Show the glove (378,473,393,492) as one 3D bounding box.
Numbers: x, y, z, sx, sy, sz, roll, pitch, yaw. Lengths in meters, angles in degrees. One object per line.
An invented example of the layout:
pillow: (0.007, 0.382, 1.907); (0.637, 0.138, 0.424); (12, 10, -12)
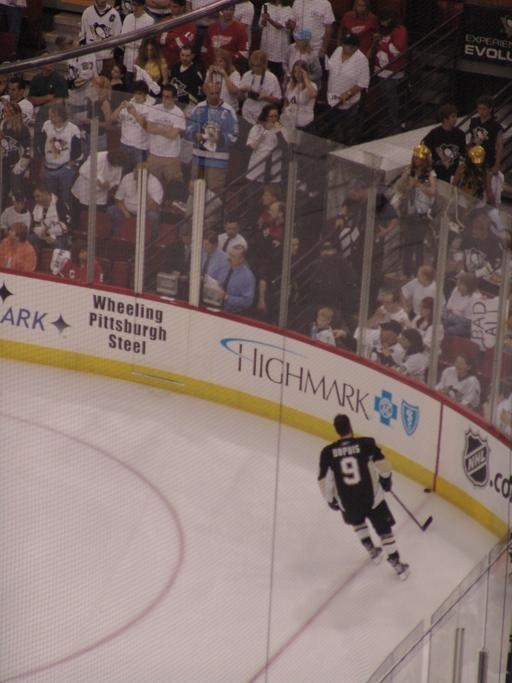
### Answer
glove: (0.587, 0.647, 3.667); (0.055, 0.087, 0.071); (-11, 24, -15)

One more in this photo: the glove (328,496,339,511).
glove: (0.359, 0.789, 3.870); (0.059, 0.058, 0.070); (-2, -3, -4)
